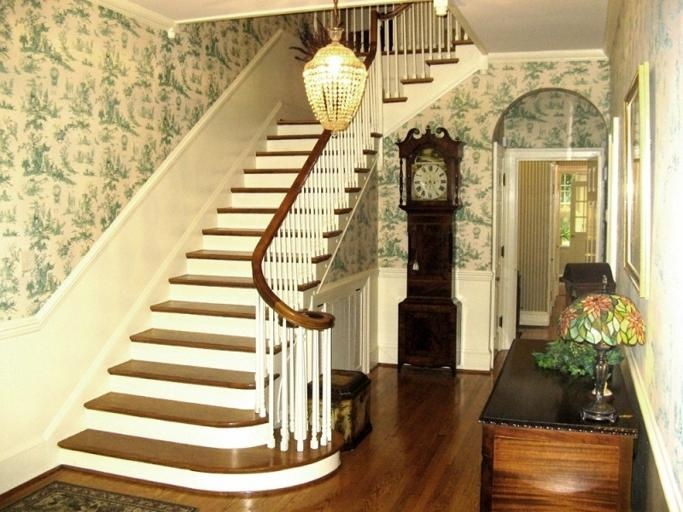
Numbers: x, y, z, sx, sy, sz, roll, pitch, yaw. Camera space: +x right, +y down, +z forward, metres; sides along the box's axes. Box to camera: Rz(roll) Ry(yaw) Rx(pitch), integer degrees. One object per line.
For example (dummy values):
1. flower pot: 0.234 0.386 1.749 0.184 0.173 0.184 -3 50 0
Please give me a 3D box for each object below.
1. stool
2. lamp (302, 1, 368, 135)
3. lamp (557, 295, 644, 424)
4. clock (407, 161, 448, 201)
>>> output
1. stool: 0.024 1.344 4.856 0.355 0.553 0.642 -1 3 24
2. lamp: -0.042 -1.322 4.054 0.456 0.767 0.178 0 7 -3
3. lamp: 1.278 0.509 2.743 0.356 0.634 0.235 0 7 -3
4. clock: 1.022 -0.866 6.443 0.396 0.440 0.087 -1 3 8
